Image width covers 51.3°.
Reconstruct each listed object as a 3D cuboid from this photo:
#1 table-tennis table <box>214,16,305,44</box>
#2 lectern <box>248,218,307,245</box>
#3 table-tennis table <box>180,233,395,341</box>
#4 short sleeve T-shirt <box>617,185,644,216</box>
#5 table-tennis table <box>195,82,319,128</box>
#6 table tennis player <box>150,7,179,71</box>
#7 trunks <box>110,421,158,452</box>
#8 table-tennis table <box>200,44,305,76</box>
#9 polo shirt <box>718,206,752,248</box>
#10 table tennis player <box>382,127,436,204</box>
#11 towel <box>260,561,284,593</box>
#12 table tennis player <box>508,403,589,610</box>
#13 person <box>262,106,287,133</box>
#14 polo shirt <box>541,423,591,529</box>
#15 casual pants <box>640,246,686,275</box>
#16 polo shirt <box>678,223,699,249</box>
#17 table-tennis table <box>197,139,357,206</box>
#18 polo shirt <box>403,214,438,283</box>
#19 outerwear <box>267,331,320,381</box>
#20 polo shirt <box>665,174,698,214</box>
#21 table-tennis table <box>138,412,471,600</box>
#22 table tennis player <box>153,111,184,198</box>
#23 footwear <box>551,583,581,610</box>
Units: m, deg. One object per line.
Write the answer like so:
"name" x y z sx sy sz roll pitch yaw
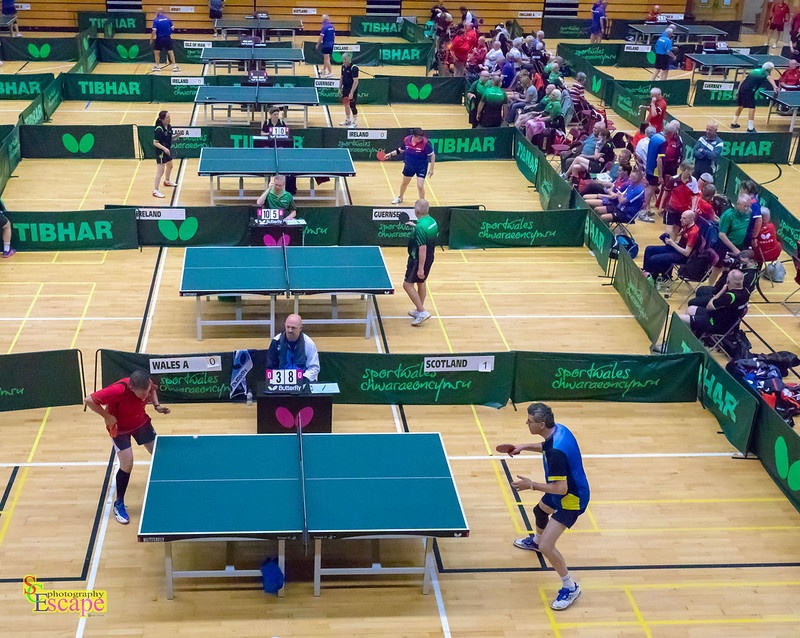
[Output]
"table-tennis table" -5.545 -11.080 32.085 2.511 0.795 1.598 2 36 -1
"lectern" -2.379 -1.651 16.360 0.975 0.568 0.703 0 2 -3
"table-tennis table" -2.003 -0.435 14.718 3.446 1.135 1.930 -2 28 -6
"short sleeve T-shirt" 5.001 -2.572 18.095 0.299 0.550 0.478 9 23 -5
"table-tennis table" -3.989 -5.897 23.520 3.214 1.113 2.490 1 28 1
"table tennis player" -8.359 -9.852 29.295 0.917 2.084 1.751 -7 28 -14
"trunks" -3.335 1.469 10.396 0.434 0.346 0.236 -29 48 -28
"table-tennis table" -5.087 -8.836 28.460 2.333 0.727 1.525 -1 44 -3
"polo shirt" 6.193 -1.678 15.358 0.530 0.556 0.312 -26 37 -17
"table tennis player" 0.284 -3.745 19.473 0.839 1.918 2.126 0 27 -1
"towel" -1.467 2.985 9.567 0.250 0.350 0.099 2 3 -4
"table tennis player" 1.785 2.388 10.078 0.909 2.206 1.253 -2 39 4
"person" -3.170 -4.946 20.611 0.522 0.694 1.339 -5 28 -9
"polo shirt" 1.892 1.863 9.576 0.660 1.251 1.073 1 27 10
"casual pants" 5.122 -1.002 16.166 0.751 0.780 0.536 0 25 1
"polo shirt" 5.372 -1.535 15.477 0.372 0.489 0.347 12 29 21
"table-tennis table" -2.791 -3.191 19.092 3.345 1.197 2.638 -3 28 -7
"polo shirt" 0.357 -1.126 14.349 0.527 1.325 0.593 0 27 -1
"outerwear" -1.466 0.518 11.486 0.713 0.801 0.610 1 11 -9
"polo shirt" 5.867 -2.623 17.162 0.566 0.563 1.400 10 29 19
"table-tennis table" -1.162 1.786 9.925 2.696 0.820 2.082 -1 42 -3
"table tennis player" -5.593 -3.999 19.506 0.615 1.970 1.809 -6 28 -12
"footwear" 2.000 3.235 9.691 0.467 0.218 0.177 -31 58 7
